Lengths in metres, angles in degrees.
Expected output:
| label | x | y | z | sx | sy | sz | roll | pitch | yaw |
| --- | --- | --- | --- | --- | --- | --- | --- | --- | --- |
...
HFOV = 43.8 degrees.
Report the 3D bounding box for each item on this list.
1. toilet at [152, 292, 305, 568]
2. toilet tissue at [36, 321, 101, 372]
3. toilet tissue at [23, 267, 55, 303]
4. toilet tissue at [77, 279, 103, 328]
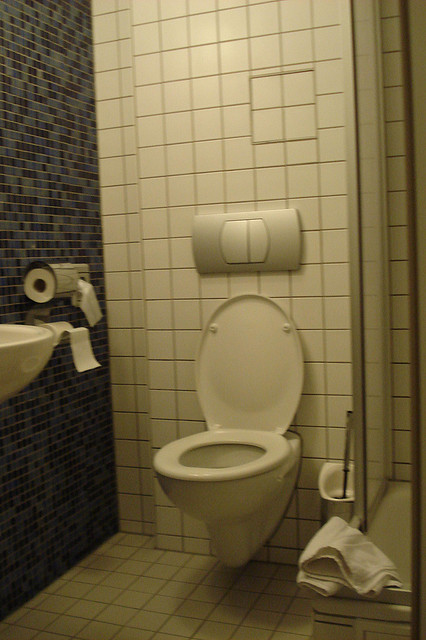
| label | x | y | z | sx | sy | sz | roll | pitch | yaw |
| --- | --- | --- | --- | --- | --- | --- | --- | --- | --- |
| toilet | 0.046 | 0.334 | 1.600 | 0.373 | 0.844 | 0.557 | 0 | 0 | 18 |
| toilet tissue | -0.429 | 0.045 | 1.539 | 0.125 | 0.168 | 0.153 | 9 | 9 | 30 |
| toilet tissue | -0.503 | -0.106 | 1.537 | 0.084 | 0.099 | 0.031 | 6 | 12 | 11 |
| toilet tissue | -0.414 | -0.055 | 1.696 | 0.052 | 0.146 | 0.040 | -17 | 20 | -37 |
